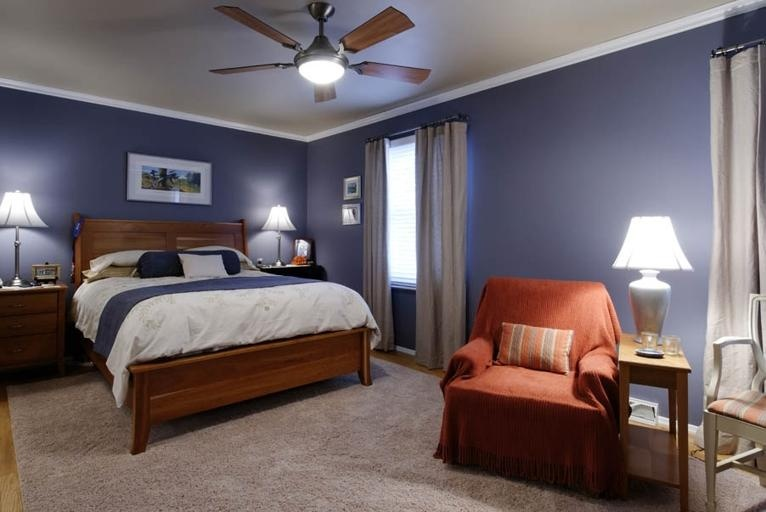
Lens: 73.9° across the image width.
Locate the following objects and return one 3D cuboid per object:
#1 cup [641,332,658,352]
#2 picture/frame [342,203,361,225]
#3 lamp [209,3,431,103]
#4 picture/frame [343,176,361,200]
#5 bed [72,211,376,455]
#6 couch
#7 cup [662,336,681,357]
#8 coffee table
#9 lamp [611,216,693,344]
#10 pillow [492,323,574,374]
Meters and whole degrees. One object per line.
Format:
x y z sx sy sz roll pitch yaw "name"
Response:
2.013 0.653 3.823 0.129 0.138 0.126 3 -6 0 "cup"
-0.411 -0.556 6.805 0.030 0.253 0.295 4 -5 -43 "picture/frame"
-0.393 -1.753 4.180 1.495 0.639 1.266 -1 3 8 "lamp"
-0.401 -0.900 6.780 0.338 0.339 0.027 -1 -2 45 "picture/frame"
-1.614 0.792 5.374 2.654 1.406 2.136 -4 -2 -32 "bed"
1.242 0.819 4.350 1.671 1.552 1.481 0 -2 27 "couch"
2.123 0.661 3.714 0.128 0.142 0.129 3 -5 0 "cup"
2.008 1.229 3.739 0.497 1.094 1.177 -1 -3 21 "coffee table"
2.121 0.180 4.031 0.567 0.911 0.560 3 -2 12 "lamp"
1.240 0.757 4.191 0.543 0.354 0.200 2 -5 30 "pillow"
